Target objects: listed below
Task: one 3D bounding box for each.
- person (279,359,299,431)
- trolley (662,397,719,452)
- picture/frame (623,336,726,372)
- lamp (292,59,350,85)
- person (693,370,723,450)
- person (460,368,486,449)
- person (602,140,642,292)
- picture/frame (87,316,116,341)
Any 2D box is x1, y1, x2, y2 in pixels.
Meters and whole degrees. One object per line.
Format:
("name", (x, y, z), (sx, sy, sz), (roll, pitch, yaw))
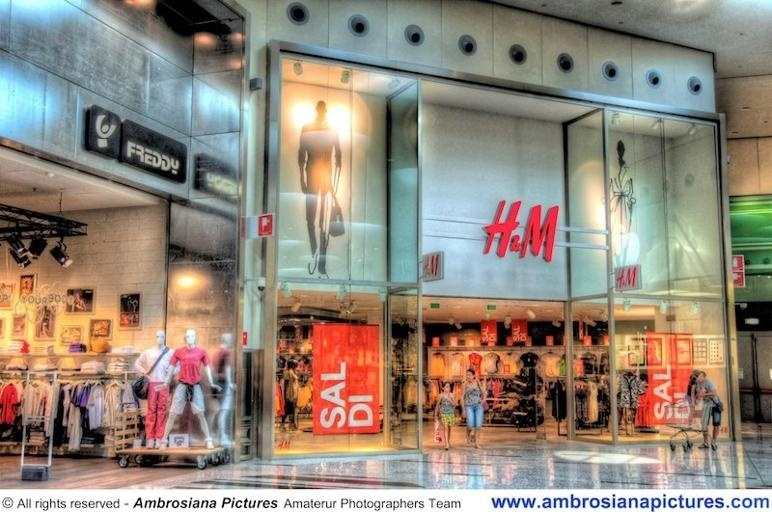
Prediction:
("person", (-1.814, 2.603, 13.537), (0.331, 1.291, 0.267), (1, -10, -16))
("trolley", (6.794, 3.692, 16.169), (1.207, 1.177, 0.812), (0, 6, -4))
("picture/frame", (6.666, 2.191, 16.579), (2.921, 0.814, 0.066), (2, -10, -21))
("lamp", (-1.351, -3.685, 14.290), (1.037, 0.413, 0.227), (5, 6, -23))
("person", (6.978, 3.324, 15.443), (0.494, 1.631, 1.035), (-6, -10, 22))
("person", (1.887, 3.269, 15.480), (0.441, 1.630, 1.530), (-3, -9, 7))
("person", (5.493, -0.988, 16.572), (0.641, 3.594, 0.978), (-5, -10, 19))
("picture/frame", (-5.479, 1.397, 13.815), (0.503, 0.445, 0.070), (-1, -12, 15))
